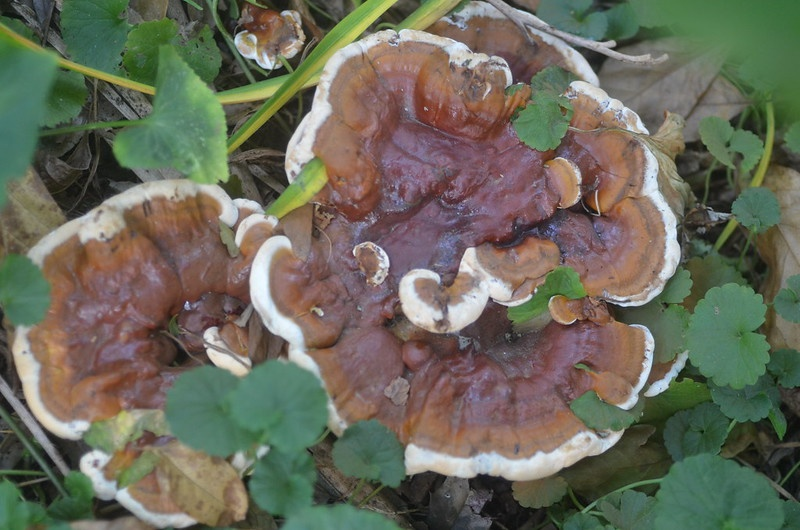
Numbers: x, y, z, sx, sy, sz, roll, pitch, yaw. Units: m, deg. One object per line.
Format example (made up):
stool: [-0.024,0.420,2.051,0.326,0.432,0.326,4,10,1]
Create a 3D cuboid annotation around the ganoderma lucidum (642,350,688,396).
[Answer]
ganoderma lucidum: [1.869,0.765,5.944,0.334,0.261,0.102,-45,-66,2]
